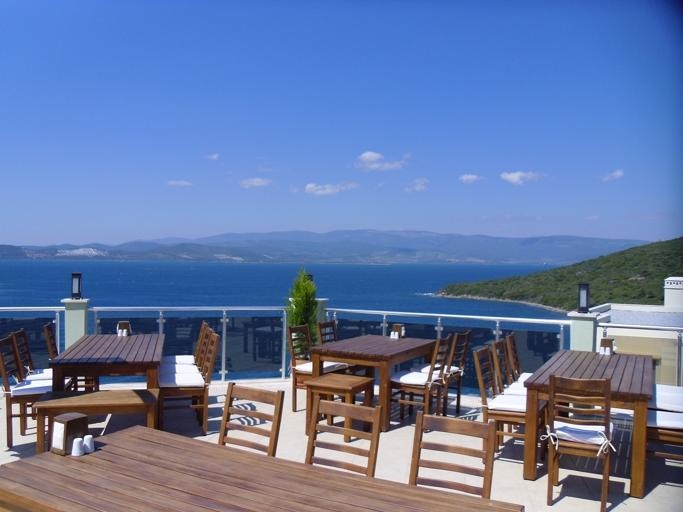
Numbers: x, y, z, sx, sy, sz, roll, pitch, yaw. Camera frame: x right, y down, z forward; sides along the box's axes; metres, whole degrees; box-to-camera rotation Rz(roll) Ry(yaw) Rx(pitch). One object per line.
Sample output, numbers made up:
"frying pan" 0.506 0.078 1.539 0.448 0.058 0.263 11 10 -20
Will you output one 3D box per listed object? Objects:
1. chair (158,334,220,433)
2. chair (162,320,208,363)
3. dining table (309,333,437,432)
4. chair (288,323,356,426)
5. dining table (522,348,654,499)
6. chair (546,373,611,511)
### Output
"chair" -1.771 1.345 6.178 0.706 0.886 0.978 -1 7 -19
"chair" -2.046 1.087 7.275 0.545 0.723 0.782 4 -1 -4
"dining table" 0.432 1.432 6.750 1.030 0.711 1.714 3 0 23
"chair" -0.274 1.367 6.909 0.789 0.869 0.749 -12 0 -17
"dining table" 2.528 1.494 5.472 1.067 0.823 1.913 0 2 29
"chair" 2.124 1.481 4.937 0.590 1.055 1.397 -1 0 25
